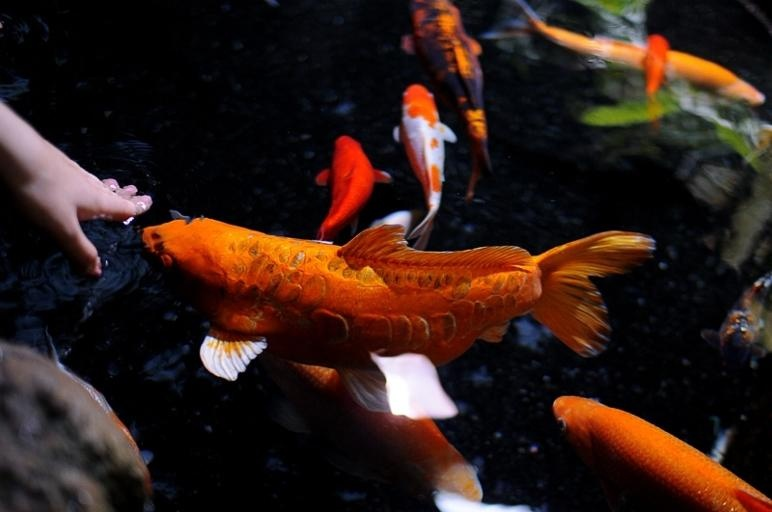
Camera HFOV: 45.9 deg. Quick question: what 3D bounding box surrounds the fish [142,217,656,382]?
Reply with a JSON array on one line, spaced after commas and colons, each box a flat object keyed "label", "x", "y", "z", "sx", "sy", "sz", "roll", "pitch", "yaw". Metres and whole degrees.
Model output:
[{"label": "fish", "x": 0.006, "y": 0.103, "z": 2.532, "sx": 1.351, "sy": 0.469, "sz": 0.401, "roll": 2, "pitch": 47, "yaw": -12}]

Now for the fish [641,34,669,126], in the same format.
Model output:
[{"label": "fish", "x": 0.870, "y": -0.588, "z": 2.948, "sx": 0.064, "sy": 0.141, "sz": 0.337, "roll": 1, "pitch": 72, "yaw": 4}]

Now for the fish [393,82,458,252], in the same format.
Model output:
[{"label": "fish", "x": 0.111, "y": -0.275, "z": 2.827, "sx": 0.164, "sy": 0.196, "sz": 0.496, "roll": 1, "pitch": 70, "yaw": -2}]

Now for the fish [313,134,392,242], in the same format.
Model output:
[{"label": "fish", "x": -0.090, "y": -0.206, "z": 2.745, "sx": 0.126, "sy": 0.180, "sz": 0.321, "roll": -10, "pitch": 46, "yaw": 19}]
